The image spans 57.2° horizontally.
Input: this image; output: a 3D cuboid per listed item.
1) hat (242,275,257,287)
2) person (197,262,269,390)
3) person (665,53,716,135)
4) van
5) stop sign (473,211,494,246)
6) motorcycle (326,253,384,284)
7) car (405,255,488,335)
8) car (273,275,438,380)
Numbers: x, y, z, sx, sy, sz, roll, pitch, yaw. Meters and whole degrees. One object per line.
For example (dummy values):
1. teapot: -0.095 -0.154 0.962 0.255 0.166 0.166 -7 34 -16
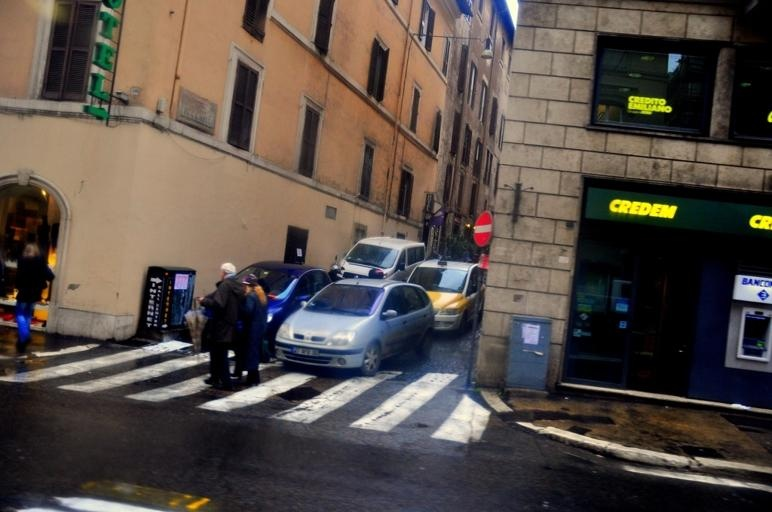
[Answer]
1. hat: -2.786 0.535 14.209 0.369 0.198 0.268 7 13 38
2. person: -3.032 1.491 13.824 1.166 2.265 0.433 4 -1 -19
3. person: 6.523 -3.492 15.189 0.940 1.270 0.210 4 -1 1
4. van: -0.170 0.048 22.801 1.323 1.103 2.220 5 -3 26
5. stop sign: 2.067 -0.594 15.509 0.110 0.928 0.976 14 9 27
6. motorcycle: -1.171 0.421 21.805 0.780 0.631 1.270 0 -8 10
7. car: 1.683 0.987 21.512 2.323 1.657 4.070 9 13 18
8. car: -0.556 1.569 15.996 1.783 1.884 3.643 3 -2 39
